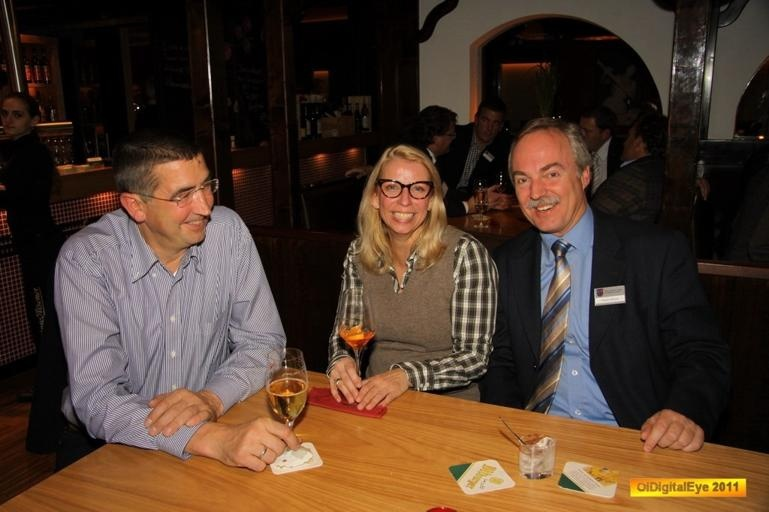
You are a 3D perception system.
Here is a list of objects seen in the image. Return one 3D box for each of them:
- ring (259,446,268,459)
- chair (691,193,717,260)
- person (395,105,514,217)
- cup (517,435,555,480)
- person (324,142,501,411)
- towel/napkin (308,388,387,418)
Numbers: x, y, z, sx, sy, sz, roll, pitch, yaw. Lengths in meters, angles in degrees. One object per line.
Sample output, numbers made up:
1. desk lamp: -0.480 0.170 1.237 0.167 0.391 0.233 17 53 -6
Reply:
1. ring: -0.394 0.638 1.569 0.025 0.026 0.025 17 43 -17
2. chair: 2.501 -0.216 3.797 0.129 0.497 0.117 -11 9 -37
3. person: 0.968 -1.094 5.280 0.921 1.317 1.022 14 -12 40
4. cup: 0.479 0.636 1.539 0.113 0.111 0.113 -2 -2 0
5. person: 0.098 0.176 2.325 0.842 1.278 0.793 2 5 38
6. towel/napkin: -0.163 0.569 1.847 0.183 0.027 0.113 12 8 14
